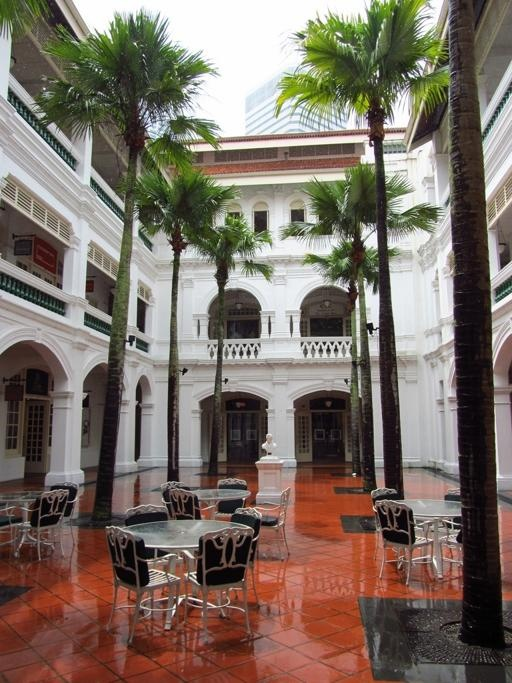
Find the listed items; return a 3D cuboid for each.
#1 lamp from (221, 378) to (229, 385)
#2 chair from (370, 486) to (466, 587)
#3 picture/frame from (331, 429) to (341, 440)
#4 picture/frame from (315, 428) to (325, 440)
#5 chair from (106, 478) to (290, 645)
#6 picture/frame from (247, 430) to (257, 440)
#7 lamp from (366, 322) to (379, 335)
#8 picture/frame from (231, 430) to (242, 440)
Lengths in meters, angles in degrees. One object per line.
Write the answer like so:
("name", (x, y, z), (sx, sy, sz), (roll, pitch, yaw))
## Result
("lamp", (-1.330, 1.623, 20.092), (0.257, 0.286, 0.215), (1, -11, 5))
("chair", (1.928, 2.330, 5.921), (1.047, 0.904, 1.852), (-5, -12, 20))
("picture/frame", (3.672, 4.320, 22.591), (0.493, 0.572, 0.041), (1, -12, 1))
("picture/frame", (2.935, 4.324, 22.621), (0.533, 0.598, 0.082), (0, -11, 1))
("chair", (-0.526, 1.897, 4.307), (1.268, 0.913, 1.329), (-2, -11, 17))
("picture/frame", (-0.231, 4.382, 22.766), (0.481, 0.473, 0.049), (0, -18, 3))
("lamp", (3.803, -0.440, 15.993), (0.448, 0.428, 0.620), (-1, 21, 7))
("picture/frame", (-0.984, 4.402, 22.830), (0.416, 0.469, 0.048), (4, -12, 2))
